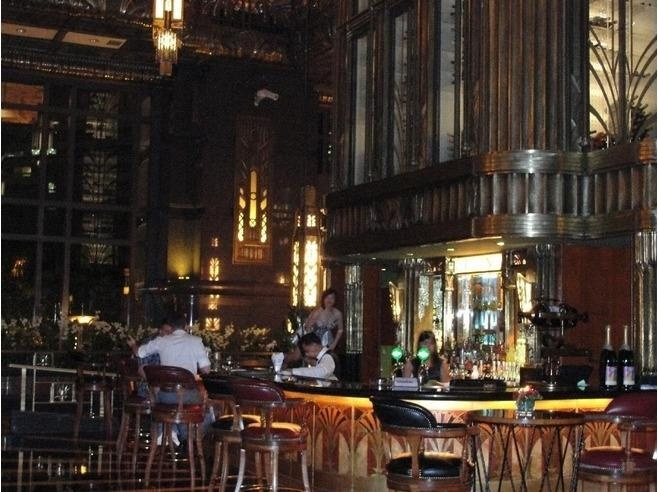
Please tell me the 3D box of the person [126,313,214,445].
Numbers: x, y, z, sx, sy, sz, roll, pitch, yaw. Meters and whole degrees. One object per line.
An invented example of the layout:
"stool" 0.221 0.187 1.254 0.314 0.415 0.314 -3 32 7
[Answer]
"person" -2.008 1.736 14.153 1.424 1.973 0.711 2 10 10

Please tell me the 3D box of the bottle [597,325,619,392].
"bottle" 3.105 1.223 12.445 0.196 0.688 0.272 -1 -7 14

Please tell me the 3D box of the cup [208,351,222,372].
"cup" -1.511 1.529 14.825 0.201 0.372 0.222 1 -4 12

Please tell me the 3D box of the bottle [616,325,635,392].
"bottle" 3.302 1.223 12.393 0.195 0.675 0.263 -5 -9 40

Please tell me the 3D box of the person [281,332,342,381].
"person" -0.217 1.304 13.421 0.525 0.944 0.571 0 -7 5
